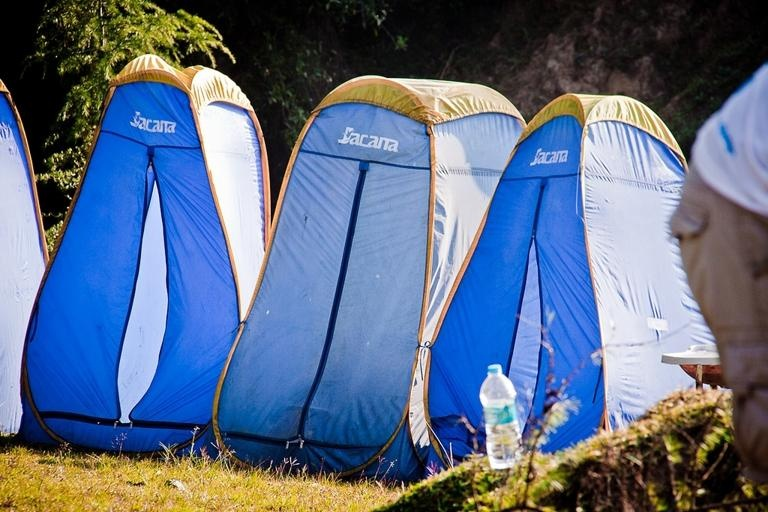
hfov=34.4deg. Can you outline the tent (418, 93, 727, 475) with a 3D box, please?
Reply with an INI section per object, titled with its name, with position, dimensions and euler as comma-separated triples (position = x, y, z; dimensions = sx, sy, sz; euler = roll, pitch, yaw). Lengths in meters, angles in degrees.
[tent]
position = 3.387, -0.091, 21.034
dimensions = 4.576, 7.730, 4.415
euler = 7, 6, 26
